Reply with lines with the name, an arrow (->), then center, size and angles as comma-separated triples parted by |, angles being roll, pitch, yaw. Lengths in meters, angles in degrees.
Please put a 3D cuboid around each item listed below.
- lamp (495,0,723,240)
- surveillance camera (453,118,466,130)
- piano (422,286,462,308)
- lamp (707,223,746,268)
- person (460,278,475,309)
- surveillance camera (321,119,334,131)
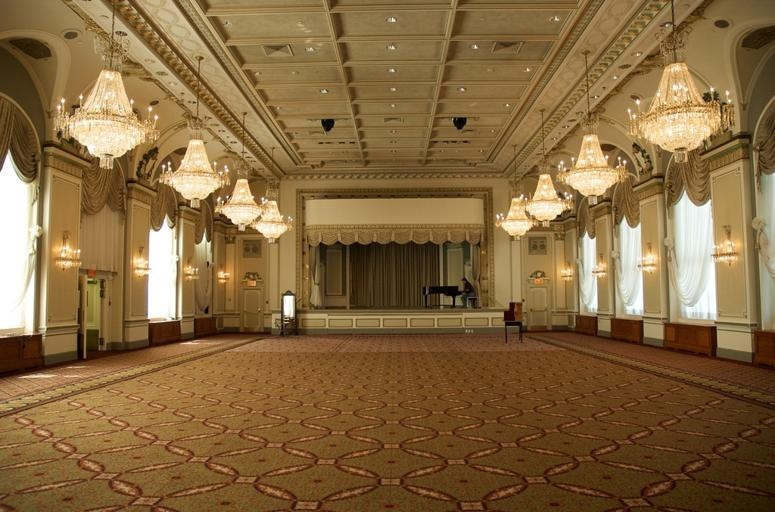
lamp -> 5.559, -3.409, 11.080 | 1.434, 2.339, 4.708 | 0, -9, -5
surveillance camera -> 2.223, -4.155, 13.917 | 0.277, 0.121, 0.351 | 0, -9, 2
piano -> 2.415, 1.782, 19.897 | 1.690, 0.823, 1.166 | -1, -5, 7
lamp -> 8.287, -0.269, 10.868 | 0.427, 1.363, 1.018 | 9, -9, -9
person -> 3.546, 1.643, 19.616 | 0.597, 1.235, 1.602 | 0, 0, 9
surveillance camera -> -1.912, -4.179, 14.190 | 0.298, 0.338, 0.366 | -4, 3, 0
